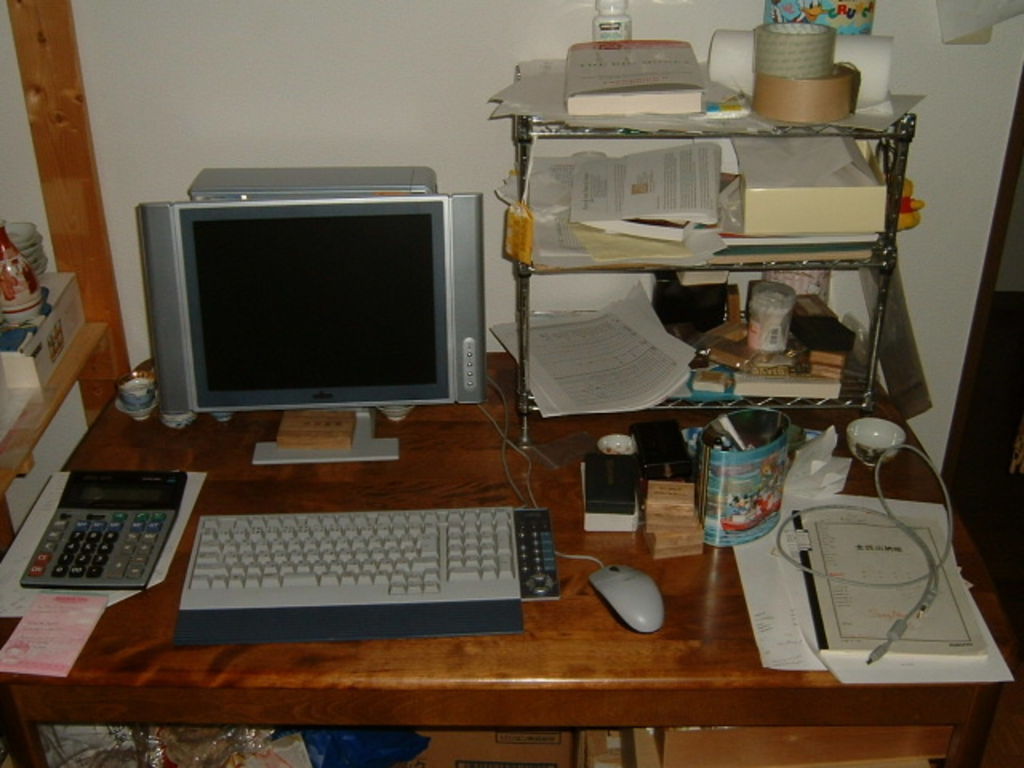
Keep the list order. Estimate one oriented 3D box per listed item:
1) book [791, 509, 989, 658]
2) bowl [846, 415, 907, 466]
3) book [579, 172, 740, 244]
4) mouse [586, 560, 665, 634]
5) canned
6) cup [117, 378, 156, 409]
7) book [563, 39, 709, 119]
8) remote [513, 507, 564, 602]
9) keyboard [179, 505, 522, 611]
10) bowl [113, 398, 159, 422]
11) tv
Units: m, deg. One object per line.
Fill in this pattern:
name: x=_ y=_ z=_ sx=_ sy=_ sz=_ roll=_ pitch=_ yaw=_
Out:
book: x=0.557 y=0.294 z=1.264 sx=0.193 sy=0.032 sz=0.178 roll=4 pitch=44 yaw=2
bowl: x=0.662 y=0.098 z=1.538 sx=0.096 sy=0.065 sz=0.094 roll=1 pitch=31 yaw=-1
book: x=0.286 y=-0.296 z=1.501 sx=0.214 sy=0.056 sz=0.162 roll=1 pitch=8 yaw=7
mouse: x=0.175 y=0.312 z=1.230 sx=0.154 sy=0.073 sz=0.133 roll=4 pitch=27 yaw=4
canned: x=0.372 y=0.155 z=1.349 sx=0.146 sy=0.184 sz=0.106 roll=-24 pitch=32 yaw=-25
cup: x=-0.738 y=0.014 z=1.646 sx=0.061 sy=0.045 sz=0.067 roll=-1 pitch=39 yaw=-18
book: x=0.211 y=-0.544 z=1.481 sx=0.229 sy=0.112 sz=0.259 roll=0 pitch=24 yaw=4
remote: x=0.039 y=0.271 z=1.319 sx=0.119 sy=0.069 sz=0.133 roll=0 pitch=31 yaw=3
keyboard: x=-0.249 y=0.284 z=1.317 sx=0.525 sy=0.059 sz=0.209 roll=0 pitch=60 yaw=1
bowl: x=-0.755 y=0.045 z=1.658 sx=0.052 sy=0.021 sz=0.052 roll=-2 pitch=21 yaw=1
tv: x=-0.340 y=-0.228 z=1.821 sx=0.830 sy=0.509 sz=0.634 roll=-2 pitch=28 yaw=-5
